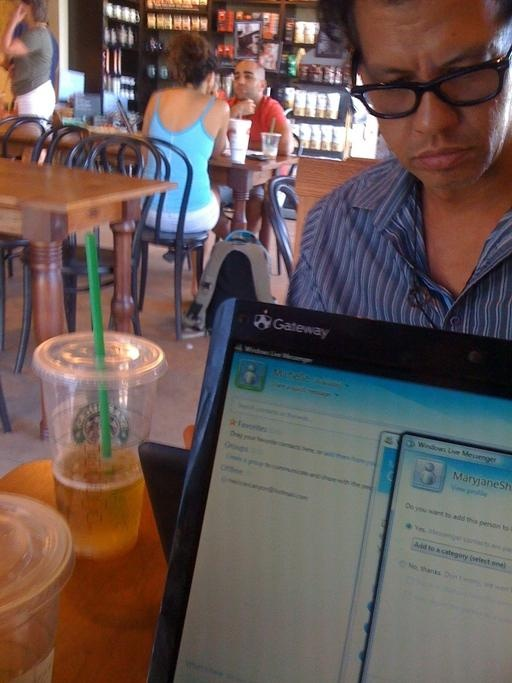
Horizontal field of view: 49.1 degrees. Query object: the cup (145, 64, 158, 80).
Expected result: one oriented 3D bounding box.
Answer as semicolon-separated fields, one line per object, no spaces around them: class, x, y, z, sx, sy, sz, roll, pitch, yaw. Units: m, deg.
cup;-1.459;-3.757;7.851;0.176;0.249;0.164;-1;11;0
